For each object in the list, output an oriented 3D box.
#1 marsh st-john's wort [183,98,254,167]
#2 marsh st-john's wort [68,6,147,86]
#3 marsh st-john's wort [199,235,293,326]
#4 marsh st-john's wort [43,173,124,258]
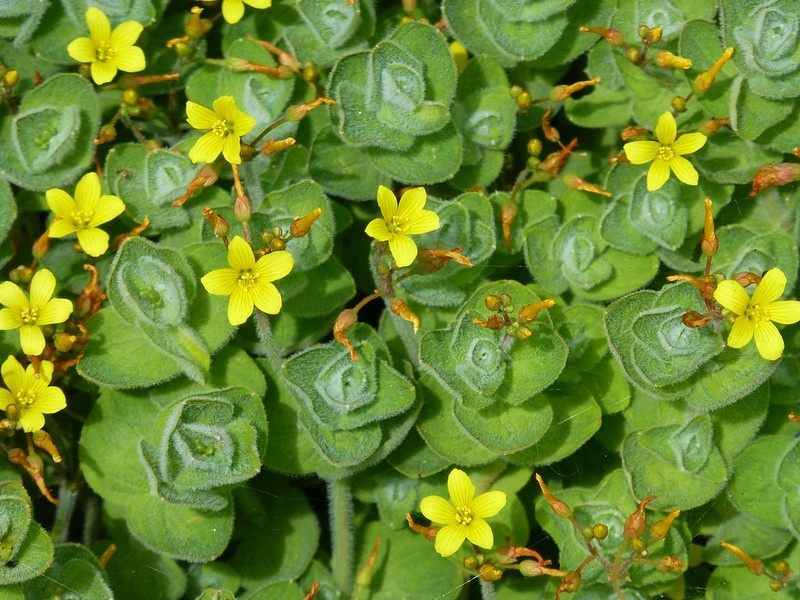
[{"bbox_3d":[-0.903,-0.826,4.088,0.304,0.357,0.190,19,22,18],"label":"marsh st-john's wort"},{"bbox_3d":[-1.556,-1.348,4.427,0.423,0.414,0.153,12,-5,-24],"label":"marsh st-john's wort"},{"bbox_3d":[-0.760,-0.114,3.969,0.478,0.218,0.489,15,29,-7],"label":"marsh st-john's wort"},{"bbox_3d":[-1.631,-0.425,4.306,0.142,0.421,0.417,51,0,33],"label":"marsh st-john's wort"}]
